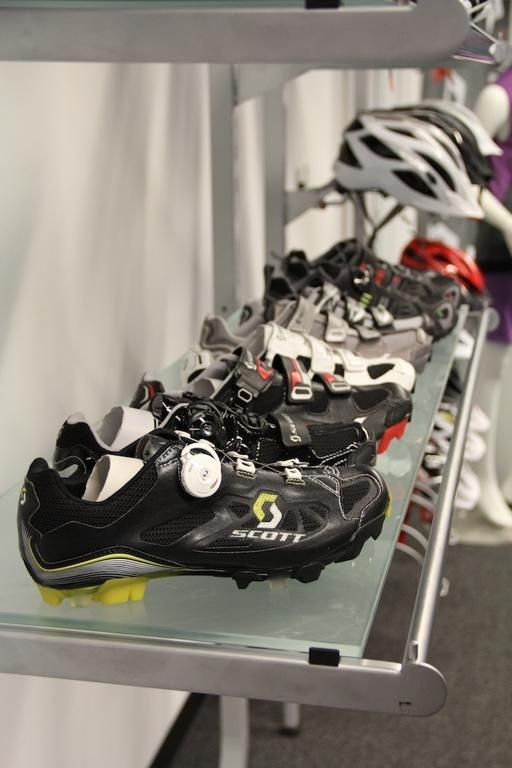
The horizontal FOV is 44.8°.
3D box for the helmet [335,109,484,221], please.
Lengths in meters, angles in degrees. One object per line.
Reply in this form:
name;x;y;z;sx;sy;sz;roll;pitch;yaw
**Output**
helmet;0.199;-0.282;0.882;0.215;0.098;0.133;27;21;19
